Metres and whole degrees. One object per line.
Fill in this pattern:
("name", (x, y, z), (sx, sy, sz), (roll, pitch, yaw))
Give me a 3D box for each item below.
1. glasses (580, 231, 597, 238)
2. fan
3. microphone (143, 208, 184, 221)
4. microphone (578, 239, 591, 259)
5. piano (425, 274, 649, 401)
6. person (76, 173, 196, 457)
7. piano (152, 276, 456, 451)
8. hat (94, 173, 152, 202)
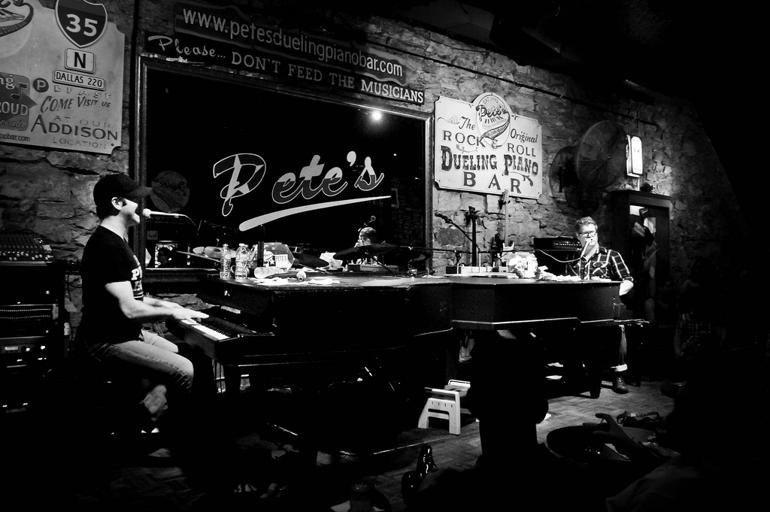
("glasses", (2.437, -0.260, 7.560), (0.185, 0.083, 0.080), (2, -2, 13))
("fan", (3.060, -1.425, 8.975), (1.145, 1.012, 0.324), (1, 15, -38))
("microphone", (-2.159, -0.397, 6.090), (0.368, 0.087, 0.102), (9, 13, -19))
("microphone", (2.437, -0.082, 7.556), (0.091, 0.226, 0.176), (25, 5, 28))
("piano", (1.197, 0.877, 6.790), (1.484, 0.930, 2.057), (1, -9, -6))
("person", (-2.024, 0.430, 5.113), (1.061, 2.216, 0.586), (3, -2, -5))
("piano", (-0.580, 0.794, 5.355), (2.108, 0.959, 1.776), (4, -8, -30))
("hat", (-2.159, -0.557, 5.140), (0.380, 0.173, 0.250), (-1, 9, -23))
